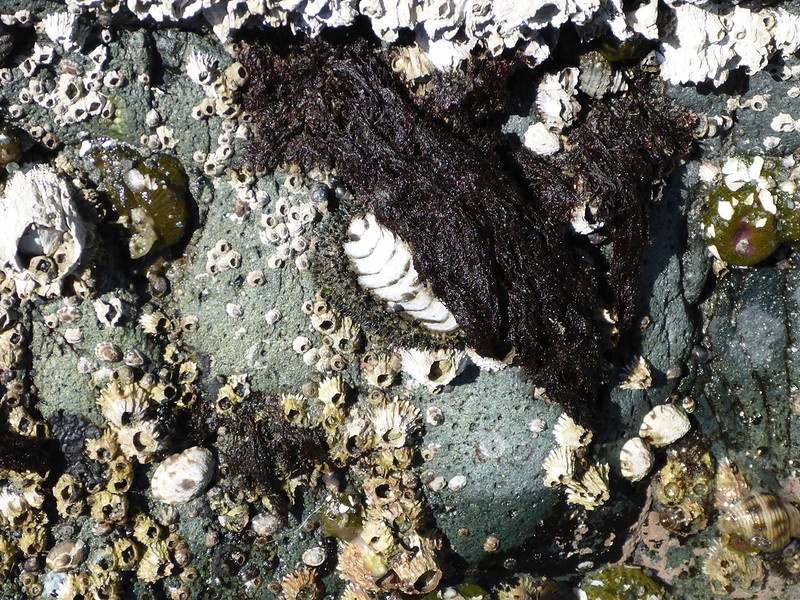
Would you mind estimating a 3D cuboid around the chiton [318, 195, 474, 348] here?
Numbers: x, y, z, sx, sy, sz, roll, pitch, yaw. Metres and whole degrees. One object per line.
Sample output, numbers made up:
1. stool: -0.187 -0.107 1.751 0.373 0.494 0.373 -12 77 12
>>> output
1. chiton: -0.130 -0.060 8.893 0.837 0.436 1.086 -43 91 7
